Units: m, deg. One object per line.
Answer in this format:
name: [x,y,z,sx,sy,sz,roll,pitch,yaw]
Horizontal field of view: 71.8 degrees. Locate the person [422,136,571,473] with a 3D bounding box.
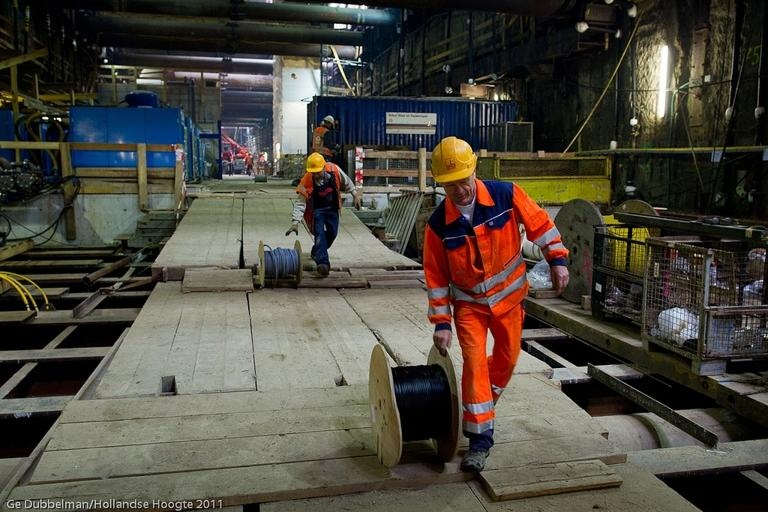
person: [0.883,0.353,4.428,1.023,2.644,0.629,-4,11,-23]

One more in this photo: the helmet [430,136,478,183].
helmet: [0.562,-0.778,4.308,0.336,0.374,0.236,1,10,5]

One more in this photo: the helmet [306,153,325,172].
helmet: [-1.100,-1.467,8.340,0.262,0.293,0.281,2,9,10]

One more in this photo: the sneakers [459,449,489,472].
sneakers: [0.723,1.656,4.281,0.206,0.156,0.137,2,10,10]

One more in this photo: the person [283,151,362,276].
person: [-1.086,-0.689,8.959,0.804,2.044,1.459,2,10,13]
